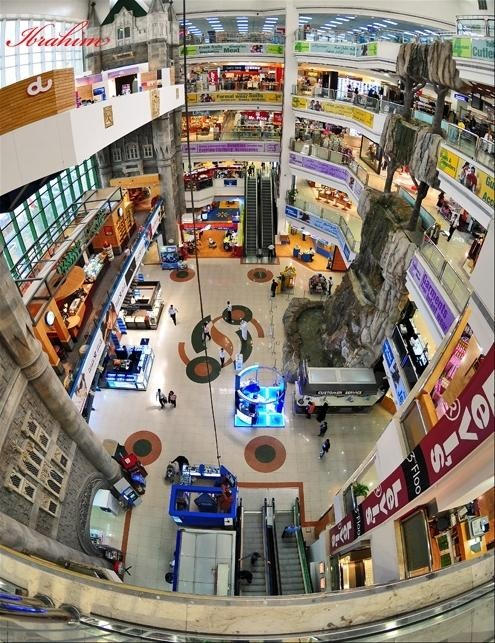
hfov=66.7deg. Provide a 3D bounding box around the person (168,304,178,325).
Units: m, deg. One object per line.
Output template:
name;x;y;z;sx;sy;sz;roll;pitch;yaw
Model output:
person;-3.704;-0.556;18.171;0.420;1.017;1.205;-5;38;-11

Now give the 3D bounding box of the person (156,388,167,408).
person;-3.320;2.808;14.252;0.372;0.809;0.567;-8;38;-14

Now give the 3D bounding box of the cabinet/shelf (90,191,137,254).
cabinet/shelf;-6.300;-4.452;17.608;0.885;1.573;2.750;-7;34;-1

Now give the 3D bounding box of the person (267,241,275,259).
person;1.418;-4.269;22.714;0.464;0.894;0.884;4;37;1

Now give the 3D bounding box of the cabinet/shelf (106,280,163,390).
cabinet/shelf;-4.983;0.735;16.133;1.590;1.331;5.287;2;49;-1

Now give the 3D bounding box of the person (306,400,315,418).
person;2.275;3.114;13.660;0.361;0.990;0.339;-18;60;-7
